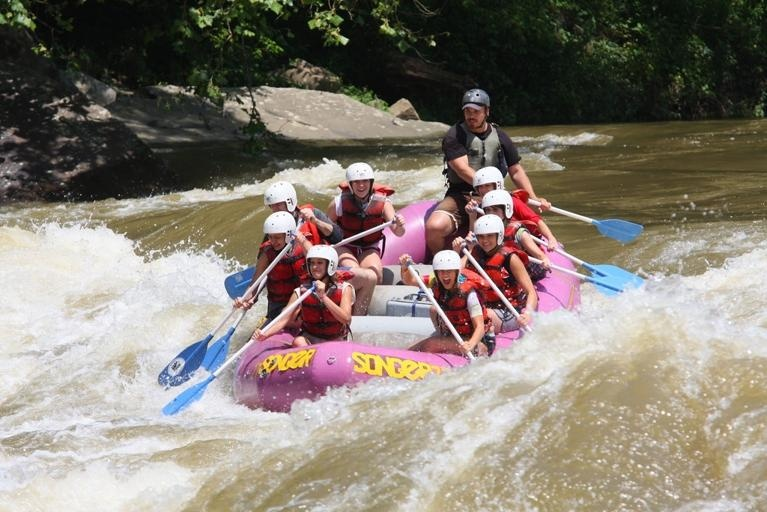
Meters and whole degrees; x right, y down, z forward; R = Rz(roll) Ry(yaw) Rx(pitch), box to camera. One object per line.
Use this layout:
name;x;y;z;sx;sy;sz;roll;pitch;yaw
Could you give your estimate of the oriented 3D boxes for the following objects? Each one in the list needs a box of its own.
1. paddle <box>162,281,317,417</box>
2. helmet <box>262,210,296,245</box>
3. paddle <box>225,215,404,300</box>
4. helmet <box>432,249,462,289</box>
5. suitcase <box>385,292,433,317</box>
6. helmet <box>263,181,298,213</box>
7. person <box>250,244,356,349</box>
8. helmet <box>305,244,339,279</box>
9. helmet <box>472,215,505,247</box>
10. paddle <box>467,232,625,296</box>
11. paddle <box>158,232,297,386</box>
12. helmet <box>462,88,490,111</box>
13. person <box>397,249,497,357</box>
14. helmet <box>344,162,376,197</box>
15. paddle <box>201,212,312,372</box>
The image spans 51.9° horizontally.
paddle;-1.549;1.062;8.608;2.211;0.298;0.121;-38;13;-24
helmet;-1.183;-0.337;8.769;0.299;0.246;0.274;-16;-7;39
paddle;-1.043;0.053;9.414;1.675;0.277;0.974;-22;11;-3
helmet;0.678;0.138;8.275;0.289;0.393;0.392;-3;2;8
suitcase;0.281;0.544;8.786;0.446;0.245;0.425;1;-19;22
helmet;-1.194;-0.690;9.177;0.292;0.317;0.377;2;3;43
person;-0.806;0.417;8.775;0.897;1.566;1.122;6;1;32
helmet;-0.604;0.046;8.285;0.271;0.350;0.279;0;38;20
helmet;1.165;-0.291;8.661;0.249;0.272;0.350;-4;-4;21
paddle;1.860;0.121;9.120;1.395;0.101;0.379;22;40;19
paddle;-1.861;0.693;9.396;2.463;0.464;0.101;-43;34;2
helmet;1.156;-1.957;9.692;0.292;0.233;0.445;4;1;12
person;0.647;0.619;8.343;0.970;1.404;0.999;-5;0;25
helmet;-0.299;-0.895;9.388;0.308;0.385;0.386;-2;0;-8
paddle;-1.483;0.484;9.248;2.333;0.388;0.169;-52;-8;-3
